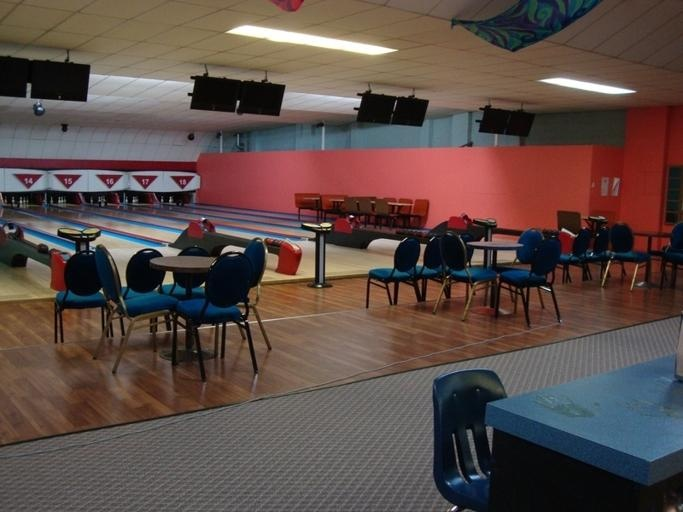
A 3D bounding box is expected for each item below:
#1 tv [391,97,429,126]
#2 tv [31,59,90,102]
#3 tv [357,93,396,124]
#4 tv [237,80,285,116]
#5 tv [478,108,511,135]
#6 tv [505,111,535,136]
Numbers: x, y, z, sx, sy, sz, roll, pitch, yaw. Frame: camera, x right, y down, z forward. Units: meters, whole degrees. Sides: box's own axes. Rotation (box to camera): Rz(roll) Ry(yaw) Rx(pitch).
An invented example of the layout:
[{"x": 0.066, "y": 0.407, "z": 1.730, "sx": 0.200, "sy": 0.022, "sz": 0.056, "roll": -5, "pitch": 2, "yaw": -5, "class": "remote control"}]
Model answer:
[{"x": 1.397, "y": -2.918, "z": 9.653, "sx": 0.810, "sy": 0.617, "sz": 0.164, "roll": 2, "pitch": 24, "yaw": -22, "class": "tv"}, {"x": -4.099, "y": -2.602, "z": 7.277, "sx": 0.986, "sy": 0.573, "sz": 0.435, "roll": 8, "pitch": 6, "yaw": 8, "class": "tv"}, {"x": 0.658, "y": -2.902, "z": 9.435, "sx": 0.794, "sy": 0.633, "sz": 0.167, "roll": -1, "pitch": 33, "yaw": -25, "class": "tv"}, {"x": -1.409, "y": -2.804, "z": 8.462, "sx": 1.066, "sy": 0.632, "sz": 0.237, "roll": -2, "pitch": 24, "yaw": -32, "class": "tv"}, {"x": 3.437, "y": -3.030, "z": 10.840, "sx": 0.747, "sy": 0.627, "sz": 0.155, "roll": -3, "pitch": 34, "yaw": -23, "class": "tv"}, {"x": 4.164, "y": -3.061, "z": 11.107, "sx": 0.780, "sy": 0.589, "sz": 0.161, "roll": 6, "pitch": 17, "yaw": -19, "class": "tv"}]
